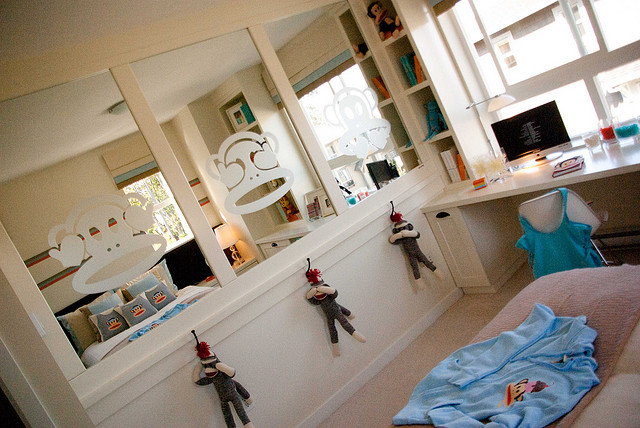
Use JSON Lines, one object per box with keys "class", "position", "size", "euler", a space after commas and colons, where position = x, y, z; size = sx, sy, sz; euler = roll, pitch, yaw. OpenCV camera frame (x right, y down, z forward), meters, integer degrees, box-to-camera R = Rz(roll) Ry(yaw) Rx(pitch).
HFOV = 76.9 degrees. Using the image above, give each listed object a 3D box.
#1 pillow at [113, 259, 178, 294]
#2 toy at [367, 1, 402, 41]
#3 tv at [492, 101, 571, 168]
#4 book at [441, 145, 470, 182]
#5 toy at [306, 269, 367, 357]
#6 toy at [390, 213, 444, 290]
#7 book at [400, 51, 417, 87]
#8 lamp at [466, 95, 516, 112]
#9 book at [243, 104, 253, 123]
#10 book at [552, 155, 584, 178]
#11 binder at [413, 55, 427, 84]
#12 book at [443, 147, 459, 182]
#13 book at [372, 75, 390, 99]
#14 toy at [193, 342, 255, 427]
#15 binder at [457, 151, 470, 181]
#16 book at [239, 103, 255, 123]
{"class": "pillow", "position": [-1.168, 0.442, 2.880], "size": [0.262, 0.264, 0.105], "euler": [-28, 5, -20]}
{"class": "toy", "position": [0.650, -1.949, 4.039], "size": [0.235, 0.264, 0.224], "euler": [-39, 27, 9]}
{"class": "tv", "position": [2.091, -0.771, 3.920], "size": [0.686, 0.530, 0.070], "euler": [-14, 8, 41]}
{"class": "book", "position": [1.519, -0.550, 4.353], "size": [0.324, 0.305, 0.185], "euler": [-23, 2, -25]}
{"class": "toy", "position": [0.112, 0.833, 3.498], "size": [0.324, 0.750, 0.220], "euler": [-23, 6, -3]}
{"class": "toy", "position": [0.898, 0.374, 3.930], "size": [0.301, 0.679, 0.170], "euler": [-22, 6, 5]}
{"class": "book", "position": [0.928, -1.511, 4.196], "size": [0.068, 0.293, 0.281], "euler": [-3, 21, 31]}
{"class": "lamp", "position": [1.746, -1.084, 3.884], "size": [0.138, 0.079, 0.240], "euler": [-24, 7, -42]}
{"class": "book", "position": [-0.602, -0.845, 3.371], "size": [0.012, 0.153, 0.037], "euler": [-18, 8, 38]}
{"class": "book", "position": [2.132, -0.415, 3.453], "size": [0.236, 0.099, 0.336], "euler": [-18, 7, 37]}
{"class": "binder", "position": [1.017, -1.449, 4.085], "size": [0.047, 0.211, 0.211], "euler": [-11, -19, 27]}
{"class": "book", "position": [1.391, -0.512, 4.255], "size": [0.067, 0.275, 0.270], "euler": [-8, 25, 24]}
{"class": "book", "position": [0.626, -1.295, 4.098], "size": [0.152, 0.214, 0.016], "euler": [-27, 8, -38]}
{"class": "toy", "position": [-0.745, 1.290, 3.049], "size": [0.298, 0.720, 0.148], "euler": [-22, 6, -1]}
{"class": "binder", "position": [1.494, -0.499, 4.214], "size": [0.054, 0.238, 0.229], "euler": [-12, 0, 10]}
{"class": "book", "position": [-0.609, -0.848, 3.365], "size": [0.096, 0.155, 0.017], "euler": [-28, 8, -42]}
